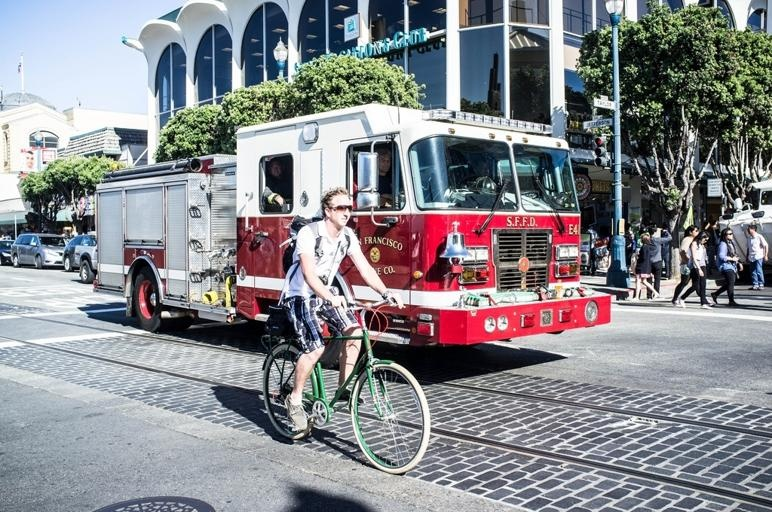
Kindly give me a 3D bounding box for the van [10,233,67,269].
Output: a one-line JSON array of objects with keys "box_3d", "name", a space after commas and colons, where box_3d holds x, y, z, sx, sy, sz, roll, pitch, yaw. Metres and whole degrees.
[{"box_3d": [-20.289, -0.214, 35.403, 2.265, 2.054, 4.893, 1, -3, -40], "name": "van"}]
